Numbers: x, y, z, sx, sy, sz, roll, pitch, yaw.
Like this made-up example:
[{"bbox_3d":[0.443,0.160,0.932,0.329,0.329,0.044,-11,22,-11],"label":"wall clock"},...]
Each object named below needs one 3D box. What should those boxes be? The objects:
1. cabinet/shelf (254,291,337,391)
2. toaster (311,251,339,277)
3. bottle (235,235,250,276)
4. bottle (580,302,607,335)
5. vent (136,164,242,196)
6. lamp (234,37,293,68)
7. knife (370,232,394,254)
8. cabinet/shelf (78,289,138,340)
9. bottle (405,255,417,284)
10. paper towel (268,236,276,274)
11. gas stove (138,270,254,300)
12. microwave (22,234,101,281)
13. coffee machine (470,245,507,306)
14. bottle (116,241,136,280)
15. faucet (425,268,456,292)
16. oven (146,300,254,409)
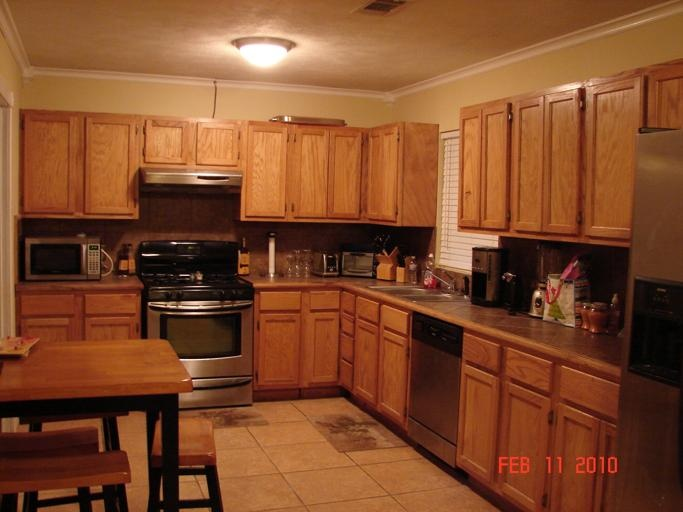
[{"bbox_3d":[-0.452,0.755,4.869,0.998,1.099,0.578,0,1,-15],"label":"cabinet/shelf"},{"bbox_3d":[-0.153,0.093,5.347,0.227,0.265,0.408,0,-2,-6],"label":"toaster"},{"bbox_3d":[-0.995,0.002,5.355,0.108,0.368,0.220,1,6,-10],"label":"bottle"},{"bbox_3d":[1.493,0.371,3.121,0.176,0.160,0.139,-3,9,-25],"label":"bottle"},{"bbox_3d":[-1.408,-0.716,4.947,0.898,0.222,0.599,0,6,-20],"label":"vent"},{"bbox_3d":[-0.592,-1.569,4.047,0.482,0.116,0.385,2,6,-4],"label":"lamp"},{"bbox_3d":[0.439,-0.132,5.528,0.220,0.196,0.542,3,6,4],"label":"knife"},{"bbox_3d":[-1.923,0.472,4.550,0.434,0.586,0.402,0,0,-26],"label":"cabinet/shelf"},{"bbox_3d":[0.687,0.131,5.162,0.117,0.244,0.277,3,6,6],"label":"bottle"},{"bbox_3d":[-0.704,-0.011,5.375,0.083,0.397,0.309,1,6,-8],"label":"paper towel"},{"bbox_3d":[-1.320,0.278,4.836,0.940,0.168,0.690,0,6,-19],"label":"gas stove"},{"bbox_3d":[-2.400,0.025,4.565,0.607,0.367,0.373,-1,2,-18],"label":"microwave"},{"bbox_3d":[1.059,0.153,3.839,0.251,0.430,0.127,5,7,26],"label":"coffee machine"},{"bbox_3d":[-2.050,0.025,5.049,0.162,0.301,0.225,-1,7,-23],"label":"bottle"},{"bbox_3d":[0.887,0.220,4.752,0.124,0.206,0.330,-4,9,-20],"label":"faucet"},{"bbox_3d":[-1.368,0.854,4.913,0.981,1.036,0.910,1,-8,-19],"label":"oven"}]
